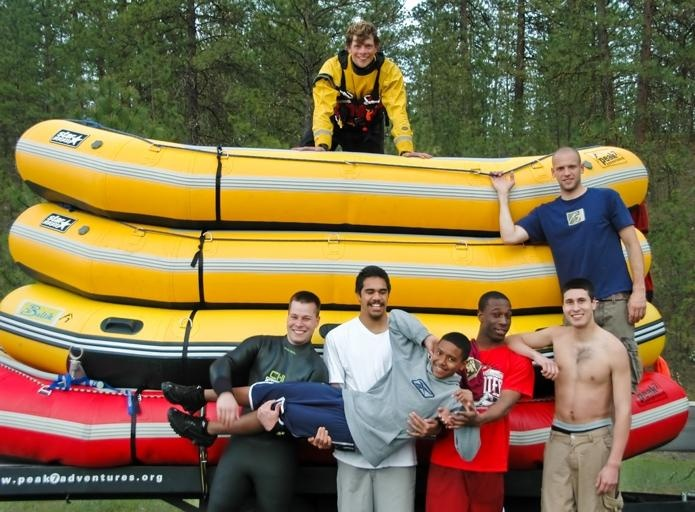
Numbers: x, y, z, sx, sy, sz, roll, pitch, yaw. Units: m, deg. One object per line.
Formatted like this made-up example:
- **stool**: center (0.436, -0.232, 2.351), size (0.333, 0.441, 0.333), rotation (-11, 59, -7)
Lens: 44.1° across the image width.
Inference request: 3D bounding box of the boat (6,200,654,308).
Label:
- **boat**: center (-0.676, 0.137, 9.613), size (4.990, 0.865, 2.513), rotation (2, -4, -3)

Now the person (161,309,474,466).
- **person**: center (-0.289, 1.217, 8.548), size (2.753, 1.164, 1.374), rotation (-6, 5, -3)
